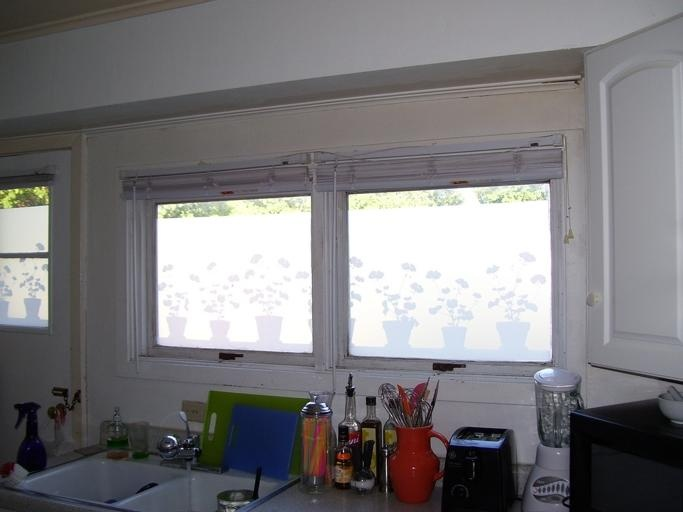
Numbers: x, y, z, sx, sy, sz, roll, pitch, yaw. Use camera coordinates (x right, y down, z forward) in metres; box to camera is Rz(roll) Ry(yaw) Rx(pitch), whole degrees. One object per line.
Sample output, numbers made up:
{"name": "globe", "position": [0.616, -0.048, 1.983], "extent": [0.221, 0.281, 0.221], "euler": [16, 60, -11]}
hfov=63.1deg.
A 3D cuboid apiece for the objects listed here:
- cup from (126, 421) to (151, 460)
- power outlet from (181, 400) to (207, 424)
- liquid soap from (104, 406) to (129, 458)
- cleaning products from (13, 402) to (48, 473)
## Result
{"name": "cup", "position": [-1.034, 0.945, 2.870], "extent": [0.116, 0.155, 0.099], "euler": [3, -6, 28]}
{"name": "power outlet", "position": [-0.733, 0.780, 2.780], "extent": [0.148, 0.116, 0.022], "euler": [1, -1, 24]}
{"name": "liquid soap", "position": [-1.167, 0.910, 2.912], "extent": [0.159, 0.219, 0.162], "euler": [-3, 4, -14]}
{"name": "cleaning products", "position": [-1.558, 0.900, 2.783], "extent": [0.154, 0.341, 0.138], "euler": [2, -9, -9]}
